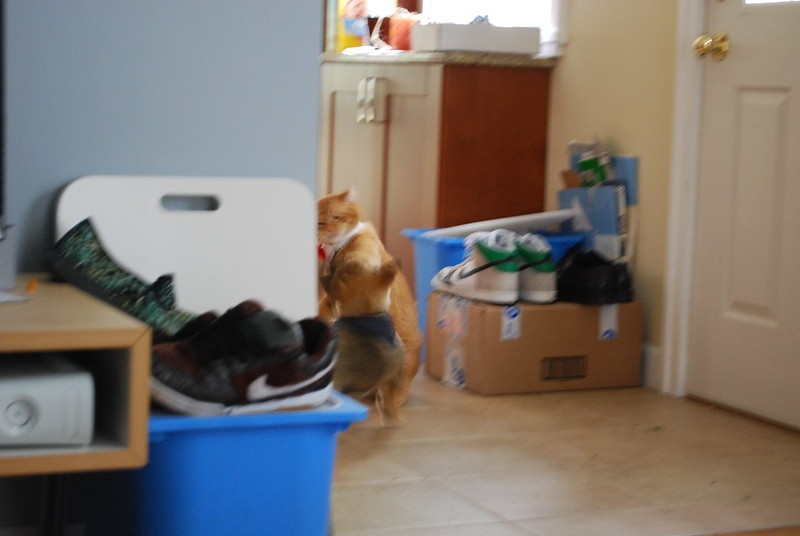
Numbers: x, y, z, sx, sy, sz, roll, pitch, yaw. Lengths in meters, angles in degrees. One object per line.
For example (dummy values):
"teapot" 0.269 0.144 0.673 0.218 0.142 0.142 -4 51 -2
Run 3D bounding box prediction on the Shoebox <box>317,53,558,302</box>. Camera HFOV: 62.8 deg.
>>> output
"Shoebox" 0.110 -0.546 2.811 0.776 1.192 0.662 -5 12 -32

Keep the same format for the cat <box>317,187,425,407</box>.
"cat" -0.054 0.111 2.087 0.323 0.691 0.343 -6 17 -25

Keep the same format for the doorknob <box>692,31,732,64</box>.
"doorknob" 1.031 -0.736 2.161 0.105 0.073 0.046 2 8 30

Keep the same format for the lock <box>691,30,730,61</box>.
"lock" 1.024 -0.739 2.170 0.105 0.073 0.045 6 -9 14

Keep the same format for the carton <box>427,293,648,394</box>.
"carton" 0.489 0.252 2.528 0.676 0.308 0.482 0 7 -16
